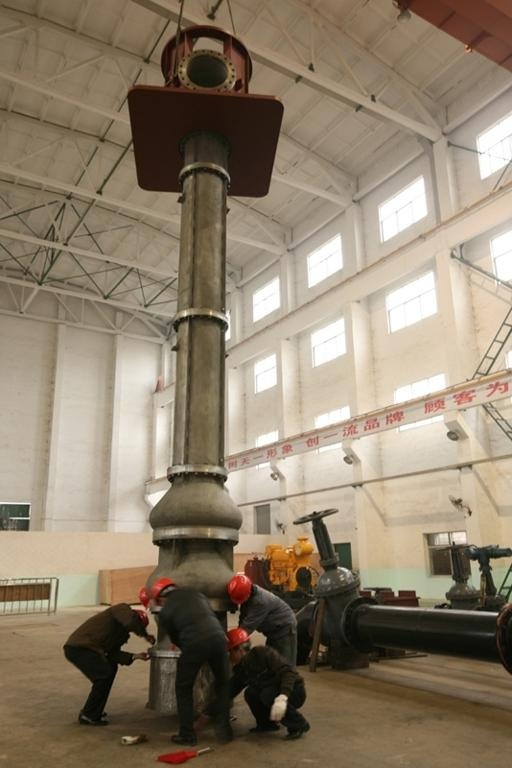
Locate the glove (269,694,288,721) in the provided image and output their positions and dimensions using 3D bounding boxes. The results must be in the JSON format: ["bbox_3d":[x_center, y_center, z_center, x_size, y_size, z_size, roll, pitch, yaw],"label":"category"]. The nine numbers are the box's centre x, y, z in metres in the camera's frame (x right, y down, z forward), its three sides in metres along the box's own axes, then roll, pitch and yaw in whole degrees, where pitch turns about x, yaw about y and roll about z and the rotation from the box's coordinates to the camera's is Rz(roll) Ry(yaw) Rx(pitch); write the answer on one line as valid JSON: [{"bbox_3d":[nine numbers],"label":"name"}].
[{"bbox_3d":[0.183,2.602,4.651,0.143,0.235,0.312,-4,-12,0],"label":"glove"}]

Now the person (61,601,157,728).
[{"bbox_3d":[-1.337,2.556,5.370,0.764,0.991,0.500,-2,-13,-8],"label":"person"}]

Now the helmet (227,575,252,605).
[{"bbox_3d":[-0.147,1.925,5.515,0.211,0.265,0.142,-7,-13,13],"label":"helmet"}]

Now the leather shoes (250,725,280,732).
[{"bbox_3d":[0.065,2.914,4.941,0.250,0.057,0.098,-3,-12,-1],"label":"leather shoes"}]

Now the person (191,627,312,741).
[{"bbox_3d":[0.016,2.545,5.003,0.979,1.038,0.793,0,-48,-6],"label":"person"}]

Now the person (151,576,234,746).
[{"bbox_3d":[-0.505,2.291,4.924,0.639,1.234,0.703,0,-13,-15],"label":"person"}]
